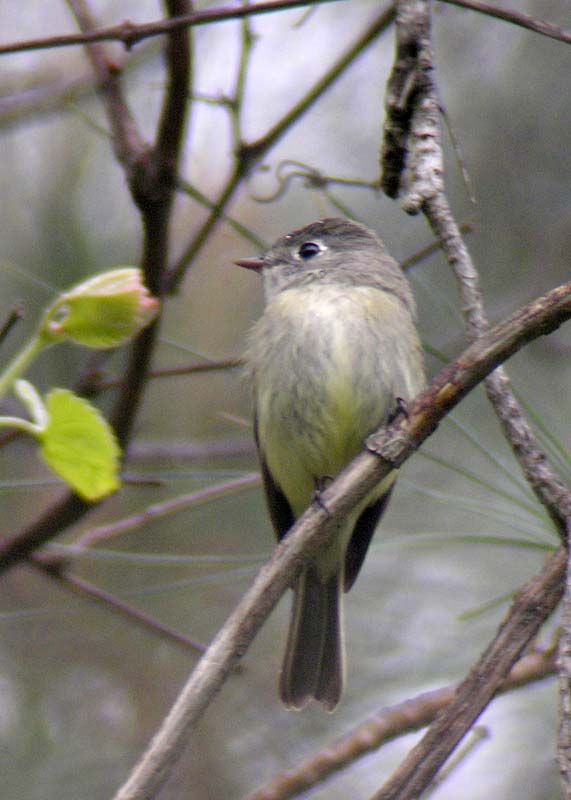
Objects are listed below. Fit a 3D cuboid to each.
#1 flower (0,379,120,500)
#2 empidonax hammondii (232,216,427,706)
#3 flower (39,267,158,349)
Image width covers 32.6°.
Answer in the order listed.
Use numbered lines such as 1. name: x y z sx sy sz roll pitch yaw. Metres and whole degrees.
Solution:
1. flower: -0.247 0.036 1.122 0.155 0.039 0.107 28 -15 18
2. empidonax hammondii: 0.081 0.110 2.417 0.498 0.496 1.127 8 -85 -7
3. flower: -0.206 -0.100 1.140 0.132 0.077 0.045 -19 -26 -8
